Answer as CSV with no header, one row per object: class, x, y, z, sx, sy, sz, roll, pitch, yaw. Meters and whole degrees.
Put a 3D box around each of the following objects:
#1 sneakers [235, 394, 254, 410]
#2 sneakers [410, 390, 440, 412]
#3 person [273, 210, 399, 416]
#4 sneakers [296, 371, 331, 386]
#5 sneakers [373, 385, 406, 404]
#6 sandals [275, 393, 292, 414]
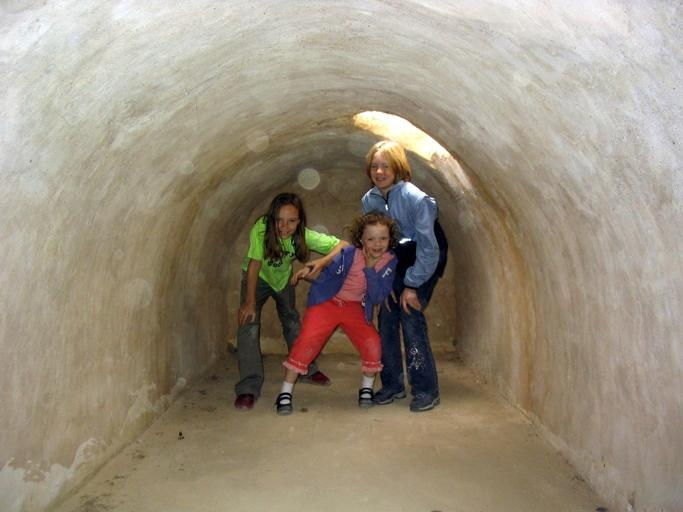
sneakers,-0.785,1.183,4.625,0.142,0.112,0.140,1,62,3
sneakers,0.666,1.153,4.527,0.237,0.114,0.117,5,75,-43
person,-0.052,0.393,4.530,0.893,0.729,1.488,5,101,-21
sneakers,-0.245,1.139,5.399,0.342,0.131,0.145,-3,89,18
sneakers,0.390,1.142,4.754,0.318,0.106,0.150,0,87,-35
sandals,-0.456,1.173,4.513,0.137,0.155,0.173,-3,62,1
